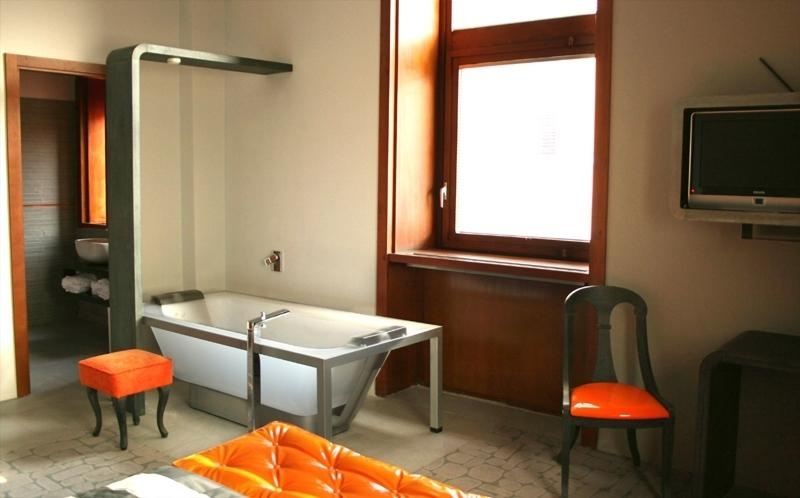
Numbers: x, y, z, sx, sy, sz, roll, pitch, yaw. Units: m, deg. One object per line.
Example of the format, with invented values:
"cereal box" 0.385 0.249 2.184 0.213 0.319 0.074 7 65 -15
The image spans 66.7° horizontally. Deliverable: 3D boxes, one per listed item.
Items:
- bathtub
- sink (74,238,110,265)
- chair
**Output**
"bathtub" -1.058 0.887 4.689 1.998 0.792 0.852 5 10 33
"sink" -3.193 0.025 6.274 0.284 0.128 0.299 9 3 32
"chair" 1.411 0.893 3.945 0.712 1.258 0.669 2 8 14
